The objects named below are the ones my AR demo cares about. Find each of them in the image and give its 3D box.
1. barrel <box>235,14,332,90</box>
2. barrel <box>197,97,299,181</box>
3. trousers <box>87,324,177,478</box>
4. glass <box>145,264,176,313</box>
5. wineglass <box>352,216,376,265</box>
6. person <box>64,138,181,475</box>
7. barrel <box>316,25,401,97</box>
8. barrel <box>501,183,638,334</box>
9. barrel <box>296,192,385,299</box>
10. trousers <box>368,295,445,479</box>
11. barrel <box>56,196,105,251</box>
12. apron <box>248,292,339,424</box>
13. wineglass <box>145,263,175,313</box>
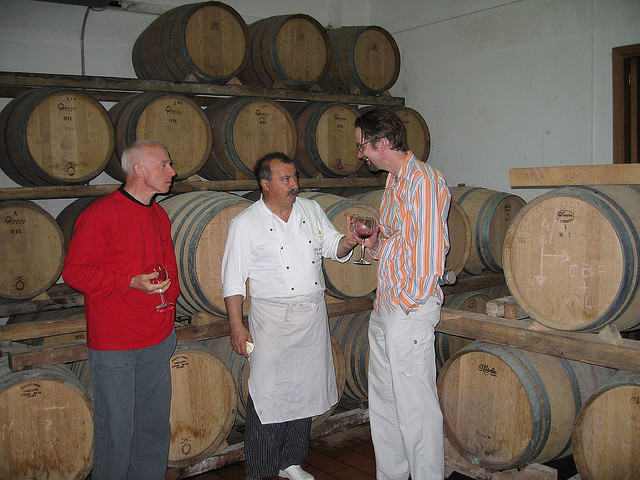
[{"bbox_3d":[-0.285,-1.591,5.098,0.961,0.797,0.702,9,2,42],"label":"barrel"},{"bbox_3d":[-0.647,-0.930,4.761,0.802,0.788,0.582,-8,17,-37],"label":"barrel"},{"bbox_3d":[-1.165,0.958,3.388,0.403,1.075,0.420,-3,15,-41],"label":"trousers"},{"bbox_3d":[-0.954,0.303,3.229,0.157,0.295,0.413,-3,6,-13],"label":"glass"},{"bbox_3d":[0.264,-0.003,3.313,0.150,0.306,0.157,4,14,12],"label":"wineglass"},{"bbox_3d":[-1.137,0.462,3.225,0.644,2.085,0.453,-4,6,-26],"label":"person"},{"bbox_3d":[0.338,-1.707,5.505,0.735,0.772,0.566,-8,17,-38],"label":"barrel"},{"bbox_3d":[1.517,0.119,3.302,0.732,0.853,0.301,3,7,40],"label":"barrel"},{"bbox_3d":[0.266,-0.016,4.555,0.704,0.802,0.979,-4,9,-36],"label":"barrel"},{"bbox_3d":[0.510,0.967,3.695,0.681,1.099,0.680,-1,1,26],"label":"trousers"},{"bbox_3d":[-2.055,-0.213,4.522,0.468,0.567,0.352,10,15,44],"label":"barrel"},{"bbox_3d":[-0.197,0.769,3.551,0.530,0.800,0.123,-2,6,-11],"label":"apron"},{"bbox_3d":[-0.951,0.278,3.233,0.145,0.294,0.151,9,23,34],"label":"wineglass"}]
